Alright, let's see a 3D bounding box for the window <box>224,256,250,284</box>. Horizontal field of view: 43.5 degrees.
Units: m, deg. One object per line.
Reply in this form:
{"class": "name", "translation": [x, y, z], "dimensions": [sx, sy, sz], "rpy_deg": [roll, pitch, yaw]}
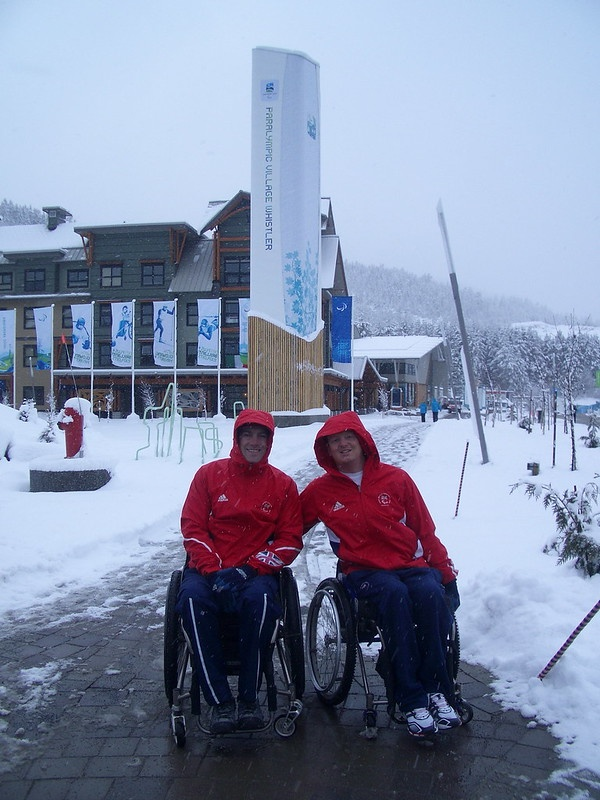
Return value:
{"class": "window", "translation": [-3.065, -6.391, 36.655], "dimensions": [1.182, 1.635, 0.152], "rpy_deg": [0, -2, 2]}

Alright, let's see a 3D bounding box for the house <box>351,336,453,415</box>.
{"class": "house", "translation": [9.059, -2.866, 64.338], "dimensions": [5.549, 3.907, 9.088], "rpy_deg": [-1, -2, 18]}

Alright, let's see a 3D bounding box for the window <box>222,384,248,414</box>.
{"class": "window", "translation": [-2.913, -0.213, 33.878], "dimensions": [1.053, 1.930, 0.185], "rpy_deg": [0, 3, 14]}

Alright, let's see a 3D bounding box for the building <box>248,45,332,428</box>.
{"class": "building", "translation": [-0.390, -5.448, 25.617], "dimensions": [2.011, 11.963, 3.597], "rpy_deg": [1, 1, 39]}

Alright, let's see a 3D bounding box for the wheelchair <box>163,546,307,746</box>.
{"class": "wheelchair", "translation": [-0.324, 1.330, 3.665], "dimensions": [0.509, 0.853, 1.061], "rpy_deg": [0, 44, -2]}

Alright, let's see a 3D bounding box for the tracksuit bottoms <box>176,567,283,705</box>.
{"class": "tracksuit bottoms", "translation": [-0.338, 1.090, 3.508], "dimensions": [0.331, 0.600, 0.742], "rpy_deg": [0, 44, -2]}

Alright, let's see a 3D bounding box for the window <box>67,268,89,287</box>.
{"class": "window", "translation": [-11.676, -6.552, 39.683], "dimensions": [0.764, 0.997, 0.073], "rpy_deg": [0, -2, 20]}

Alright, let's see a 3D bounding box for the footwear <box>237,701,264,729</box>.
{"class": "footwear", "translation": [-0.225, 1.454, 3.426], "dimensions": [0.117, 0.134, 0.142], "rpy_deg": [0, 1, -6]}

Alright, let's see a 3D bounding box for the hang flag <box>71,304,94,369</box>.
{"class": "hang flag", "translation": [-10.013, -2.994, 34.628], "dimensions": [1.304, 2.787, 0.835], "rpy_deg": [1, 1, 36]}

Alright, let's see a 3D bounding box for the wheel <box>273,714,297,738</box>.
{"class": "wheel", "translation": [-0.068, 1.527, 3.526], "dimensions": [0.070, 0.095, 0.033], "rpy_deg": [5, -7, 11]}

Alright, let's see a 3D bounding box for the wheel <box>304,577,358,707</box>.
{"class": "wheel", "translation": [0.170, 1.258, 3.882], "dimensions": [0.088, 0.726, 0.614], "rpy_deg": [3, 1, -11]}

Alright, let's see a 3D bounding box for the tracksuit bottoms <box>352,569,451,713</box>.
{"class": "tracksuit bottoms", "translation": [0.527, 1.066, 3.496], "dimensions": [0.348, 0.735, 0.515], "rpy_deg": [1, -13, -16]}

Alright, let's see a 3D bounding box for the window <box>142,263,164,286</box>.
{"class": "window", "translation": [-7.427, -6.488, 38.220], "dimensions": [0.815, 1.120, 0.078], "rpy_deg": [-1, 3, 6]}

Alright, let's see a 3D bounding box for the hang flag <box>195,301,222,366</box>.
{"class": "hang flag", "translation": [-3.965, -3.050, 32.713], "dimensions": [0.865, 2.857, 1.503], "rpy_deg": [0, 1, -15]}

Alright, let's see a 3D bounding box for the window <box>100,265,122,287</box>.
{"class": "window", "translation": [-9.656, -6.509, 38.664], "dimensions": [0.809, 1.112, 0.100], "rpy_deg": [1, -7, 5]}

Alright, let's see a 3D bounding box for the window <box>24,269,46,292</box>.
{"class": "window", "translation": [-14.111, -6.499, 40.203], "dimensions": [0.868, 1.238, 0.106], "rpy_deg": [2, 4, -6]}

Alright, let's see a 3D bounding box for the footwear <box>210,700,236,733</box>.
{"class": "footwear", "translation": [-0.343, 1.412, 3.360], "dimensions": [0.113, 0.104, 0.120], "rpy_deg": [-1, 1, -13]}

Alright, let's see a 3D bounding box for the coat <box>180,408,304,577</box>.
{"class": "coat", "translation": [-0.292, 0.536, 3.988], "dimensions": [0.508, 1.059, 0.567], "rpy_deg": [7, -8, -16]}

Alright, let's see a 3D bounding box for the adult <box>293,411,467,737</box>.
{"class": "adult", "translation": [0.419, 0.809, 3.802], "dimensions": [0.593, 1.559, 0.984], "rpy_deg": [-6, -5, -25]}

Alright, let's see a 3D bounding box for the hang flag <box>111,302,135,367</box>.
{"class": "hang flag", "translation": [-8.146, -3.083, 34.751], "dimensions": [1.200, 2.866, 0.547], "rpy_deg": [0, 1, 32]}

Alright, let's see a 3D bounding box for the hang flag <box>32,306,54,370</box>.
{"class": "hang flag", "translation": [-12.088, -2.970, 35.412], "dimensions": [0.876, 3.028, 0.092], "rpy_deg": [-1, -5, -24]}

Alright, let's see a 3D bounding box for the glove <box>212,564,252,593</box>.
{"class": "glove", "translation": [-0.331, 0.868, 3.665], "dimensions": [0.125, 0.046, 0.110], "rpy_deg": [-12, 30, -8]}

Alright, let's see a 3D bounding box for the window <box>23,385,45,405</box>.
{"class": "window", "translation": [-12.703, -0.309, 35.930], "dimensions": [1.016, 0.174, 1.284], "rpy_deg": [0, 46, -10]}

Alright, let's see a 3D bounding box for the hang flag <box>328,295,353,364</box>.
{"class": "hang flag", "translation": [2.088, -3.289, 37.394], "dimensions": [1.115, 4.078, 0.127], "rpy_deg": [2, 18, 8]}

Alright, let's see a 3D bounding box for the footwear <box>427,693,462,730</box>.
{"class": "footwear", "translation": [0.653, 1.400, 3.399], "dimensions": [0.070, 0.127, 0.251], "rpy_deg": [-2, -20, -5]}

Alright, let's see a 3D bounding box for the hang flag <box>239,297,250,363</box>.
{"class": "hang flag", "translation": [-2.437, -3.037, 33.796], "dimensions": [0.643, 3.366, 0.045], "rpy_deg": [-1, -3, 37]}
